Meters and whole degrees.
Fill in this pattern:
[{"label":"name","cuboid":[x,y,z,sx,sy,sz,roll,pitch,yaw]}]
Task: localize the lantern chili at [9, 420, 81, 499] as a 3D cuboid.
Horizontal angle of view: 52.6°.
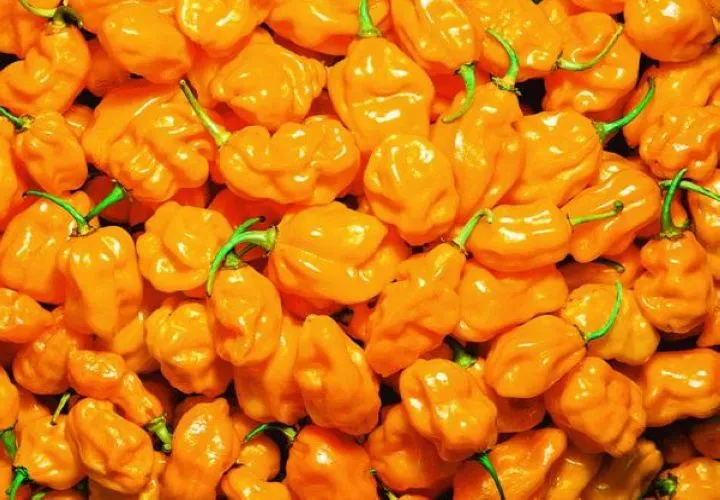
[{"label":"lantern chili","cuboid":[-1.124,0.745,2.651,0.275,0.099,0.265,0,78,0]}]
